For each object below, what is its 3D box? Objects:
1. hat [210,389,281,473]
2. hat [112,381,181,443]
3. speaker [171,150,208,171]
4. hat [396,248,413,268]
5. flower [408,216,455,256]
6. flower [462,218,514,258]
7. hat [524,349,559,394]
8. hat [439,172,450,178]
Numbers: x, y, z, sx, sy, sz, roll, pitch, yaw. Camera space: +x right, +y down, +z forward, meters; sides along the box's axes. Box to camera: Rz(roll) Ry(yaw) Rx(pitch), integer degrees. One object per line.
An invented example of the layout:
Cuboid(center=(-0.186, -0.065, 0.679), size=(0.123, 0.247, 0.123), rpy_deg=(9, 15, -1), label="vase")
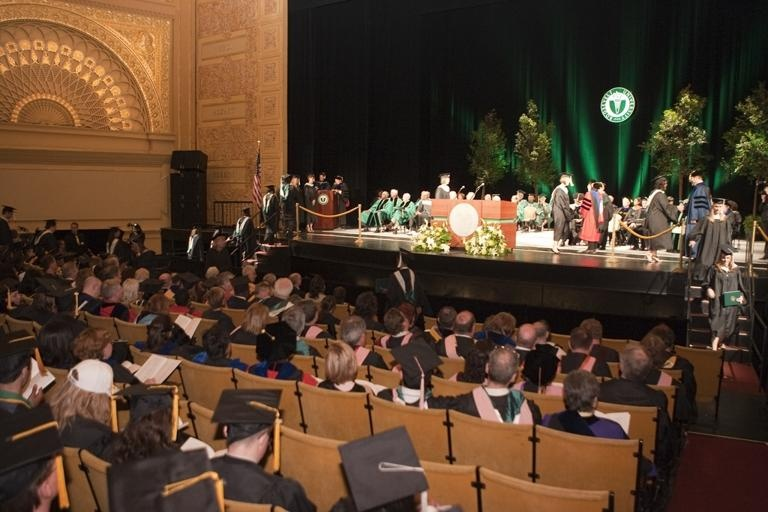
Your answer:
Cuboid(center=(-1.005, 1.234, 4.052), size=(0.446, 0.383, 0.567), rpy_deg=(2, 2, -9), label="hat")
Cuboid(center=(-1.816, 1.192, 4.217), size=(0.416, 0.687, 0.462), rpy_deg=(4, 10, -24), label="hat")
Cuboid(center=(-6.752, -3.256, 19.491), size=(0.800, 0.898, 0.530), rpy_deg=(5, 7, 17), label="speaker")
Cuboid(center=(0.352, 0.040, 9.539), size=(0.328, 0.365, 0.314), rpy_deg=(0, 5, -23), label="hat")
Cuboid(center=(1.040, -0.466, 12.089), size=(0.682, 0.555, 0.793), rpy_deg=(0, 10, 1), label="flower")
Cuboid(center=(2.101, -0.329, 11.212), size=(0.728, 0.500, 0.745), rpy_deg=(-4, 25, 0), label="flower")
Cuboid(center=(1.553, 1.134, 5.531), size=(0.330, 0.467, 0.424), rpy_deg=(1, 13, 3), label="hat")
Cuboid(center=(1.730, -2.323, 15.872), size=(0.427, 0.173, 0.454), rpy_deg=(-1, 5, -1), label="hat")
